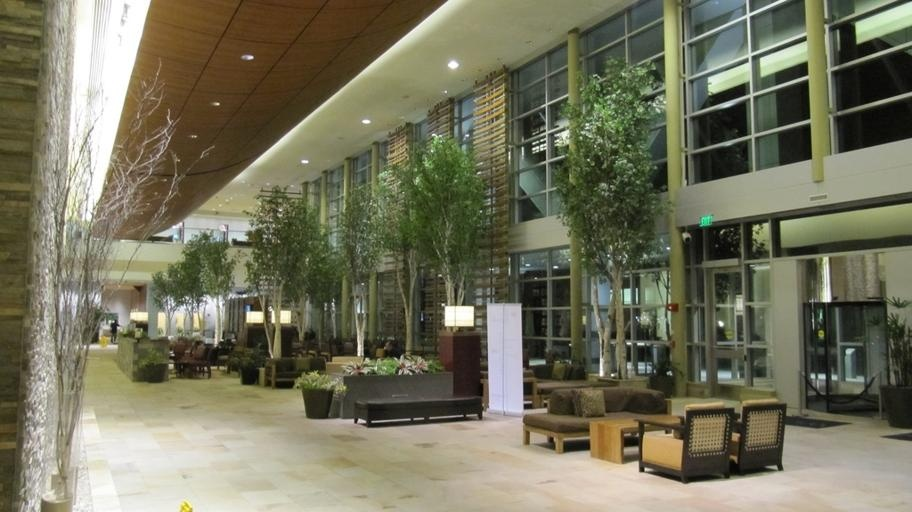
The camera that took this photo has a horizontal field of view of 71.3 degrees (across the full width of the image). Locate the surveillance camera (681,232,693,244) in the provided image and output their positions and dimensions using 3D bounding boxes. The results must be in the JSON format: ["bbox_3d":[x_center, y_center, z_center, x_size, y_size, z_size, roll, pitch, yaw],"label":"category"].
[{"bbox_3d":[6.402,-0.509,17.496,0.247,0.289,0.260,-1,21,2],"label":"surveillance camera"}]

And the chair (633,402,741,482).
[{"bbox_3d":[3.852,3.133,10.920,1.184,1.263,1.480,4,-8,-22],"label":"chair"}]

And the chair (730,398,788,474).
[{"bbox_3d":[5.113,3.015,10.881,0.694,1.295,0.819,0,-1,-2],"label":"chair"}]

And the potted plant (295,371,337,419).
[{"bbox_3d":[-3.314,3.278,15.019,1.049,0.996,1.074,3,-9,-13],"label":"potted plant"}]

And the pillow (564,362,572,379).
[{"bbox_3d":[3.042,3.114,17.118,0.093,0.281,0.310,12,-15,2],"label":"pillow"}]

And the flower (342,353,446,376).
[{"bbox_3d":[-1.478,2.556,14.790,2.280,0.362,0.522,0,0,-12],"label":"flower"}]

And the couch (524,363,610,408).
[{"bbox_3d":[2.765,3.402,16.215,1.272,1.103,2.077,1,-1,1],"label":"couch"}]

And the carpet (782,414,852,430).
[{"bbox_3d":[8.001,3.698,14.097,1.107,0.076,1.307,0,0,28],"label":"carpet"}]

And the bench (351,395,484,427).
[{"bbox_3d":[-0.846,3.443,14.232,2.821,0.584,0.544,0,1,-17],"label":"bench"}]

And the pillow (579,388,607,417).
[{"bbox_3d":[2.606,2.814,12.136,0.508,0.445,0.178,1,-12,-11],"label":"pillow"}]

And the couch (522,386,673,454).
[{"bbox_3d":[2.686,3.307,12.394,2.975,1.282,2.123,0,-3,-8],"label":"couch"}]

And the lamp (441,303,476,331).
[{"bbox_3d":[0.075,1.477,15.508,0.642,0.594,0.615,-2,2,-1],"label":"lamp"}]
